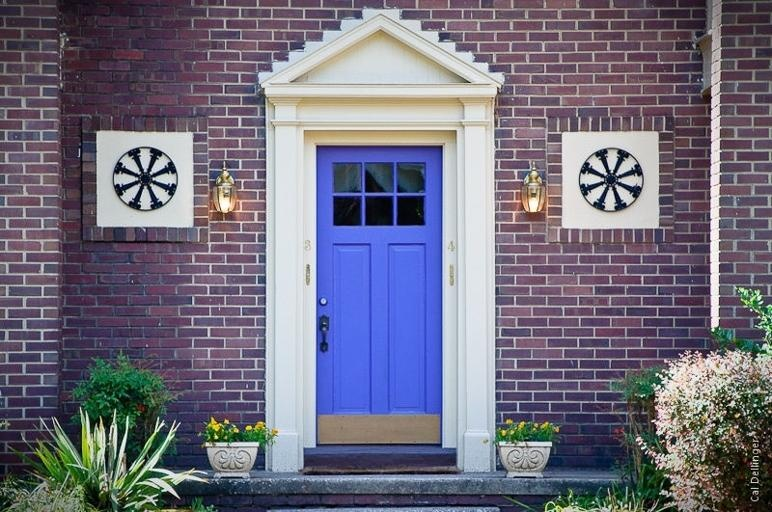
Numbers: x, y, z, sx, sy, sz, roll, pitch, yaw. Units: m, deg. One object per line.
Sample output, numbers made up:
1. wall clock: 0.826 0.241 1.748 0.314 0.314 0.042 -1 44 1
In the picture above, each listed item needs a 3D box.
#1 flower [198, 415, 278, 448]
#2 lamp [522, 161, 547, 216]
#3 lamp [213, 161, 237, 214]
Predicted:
1. flower: -1.388 1.691 13.879 0.733 0.333 0.511 -3 13 -8
2. lamp: 1.440 -0.641 14.157 0.220 0.487 0.219 2 13 16
3. lamp: -1.545 -0.627 14.106 0.218 0.486 0.178 -12 16 -37
